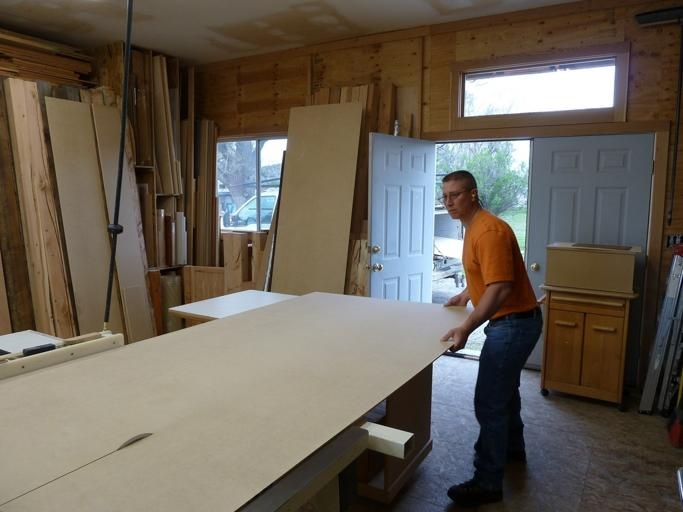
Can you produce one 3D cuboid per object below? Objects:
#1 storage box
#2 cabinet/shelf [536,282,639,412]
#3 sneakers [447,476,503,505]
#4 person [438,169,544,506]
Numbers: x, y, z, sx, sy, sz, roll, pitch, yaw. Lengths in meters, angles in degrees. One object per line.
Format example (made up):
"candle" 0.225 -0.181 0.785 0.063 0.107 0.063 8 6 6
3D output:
"storage box" 2.169 0.121 4.394 0.696 0.364 0.122 6 14 28
"cabinet/shelf" 2.225 0.954 4.657 0.756 1.037 0.749 0 -30 35
"sneakers" 0.846 1.517 3.263 0.392 0.179 0.143 3 1 -4
"person" 0.925 0.539 3.142 0.616 2.106 0.842 4 13 19
